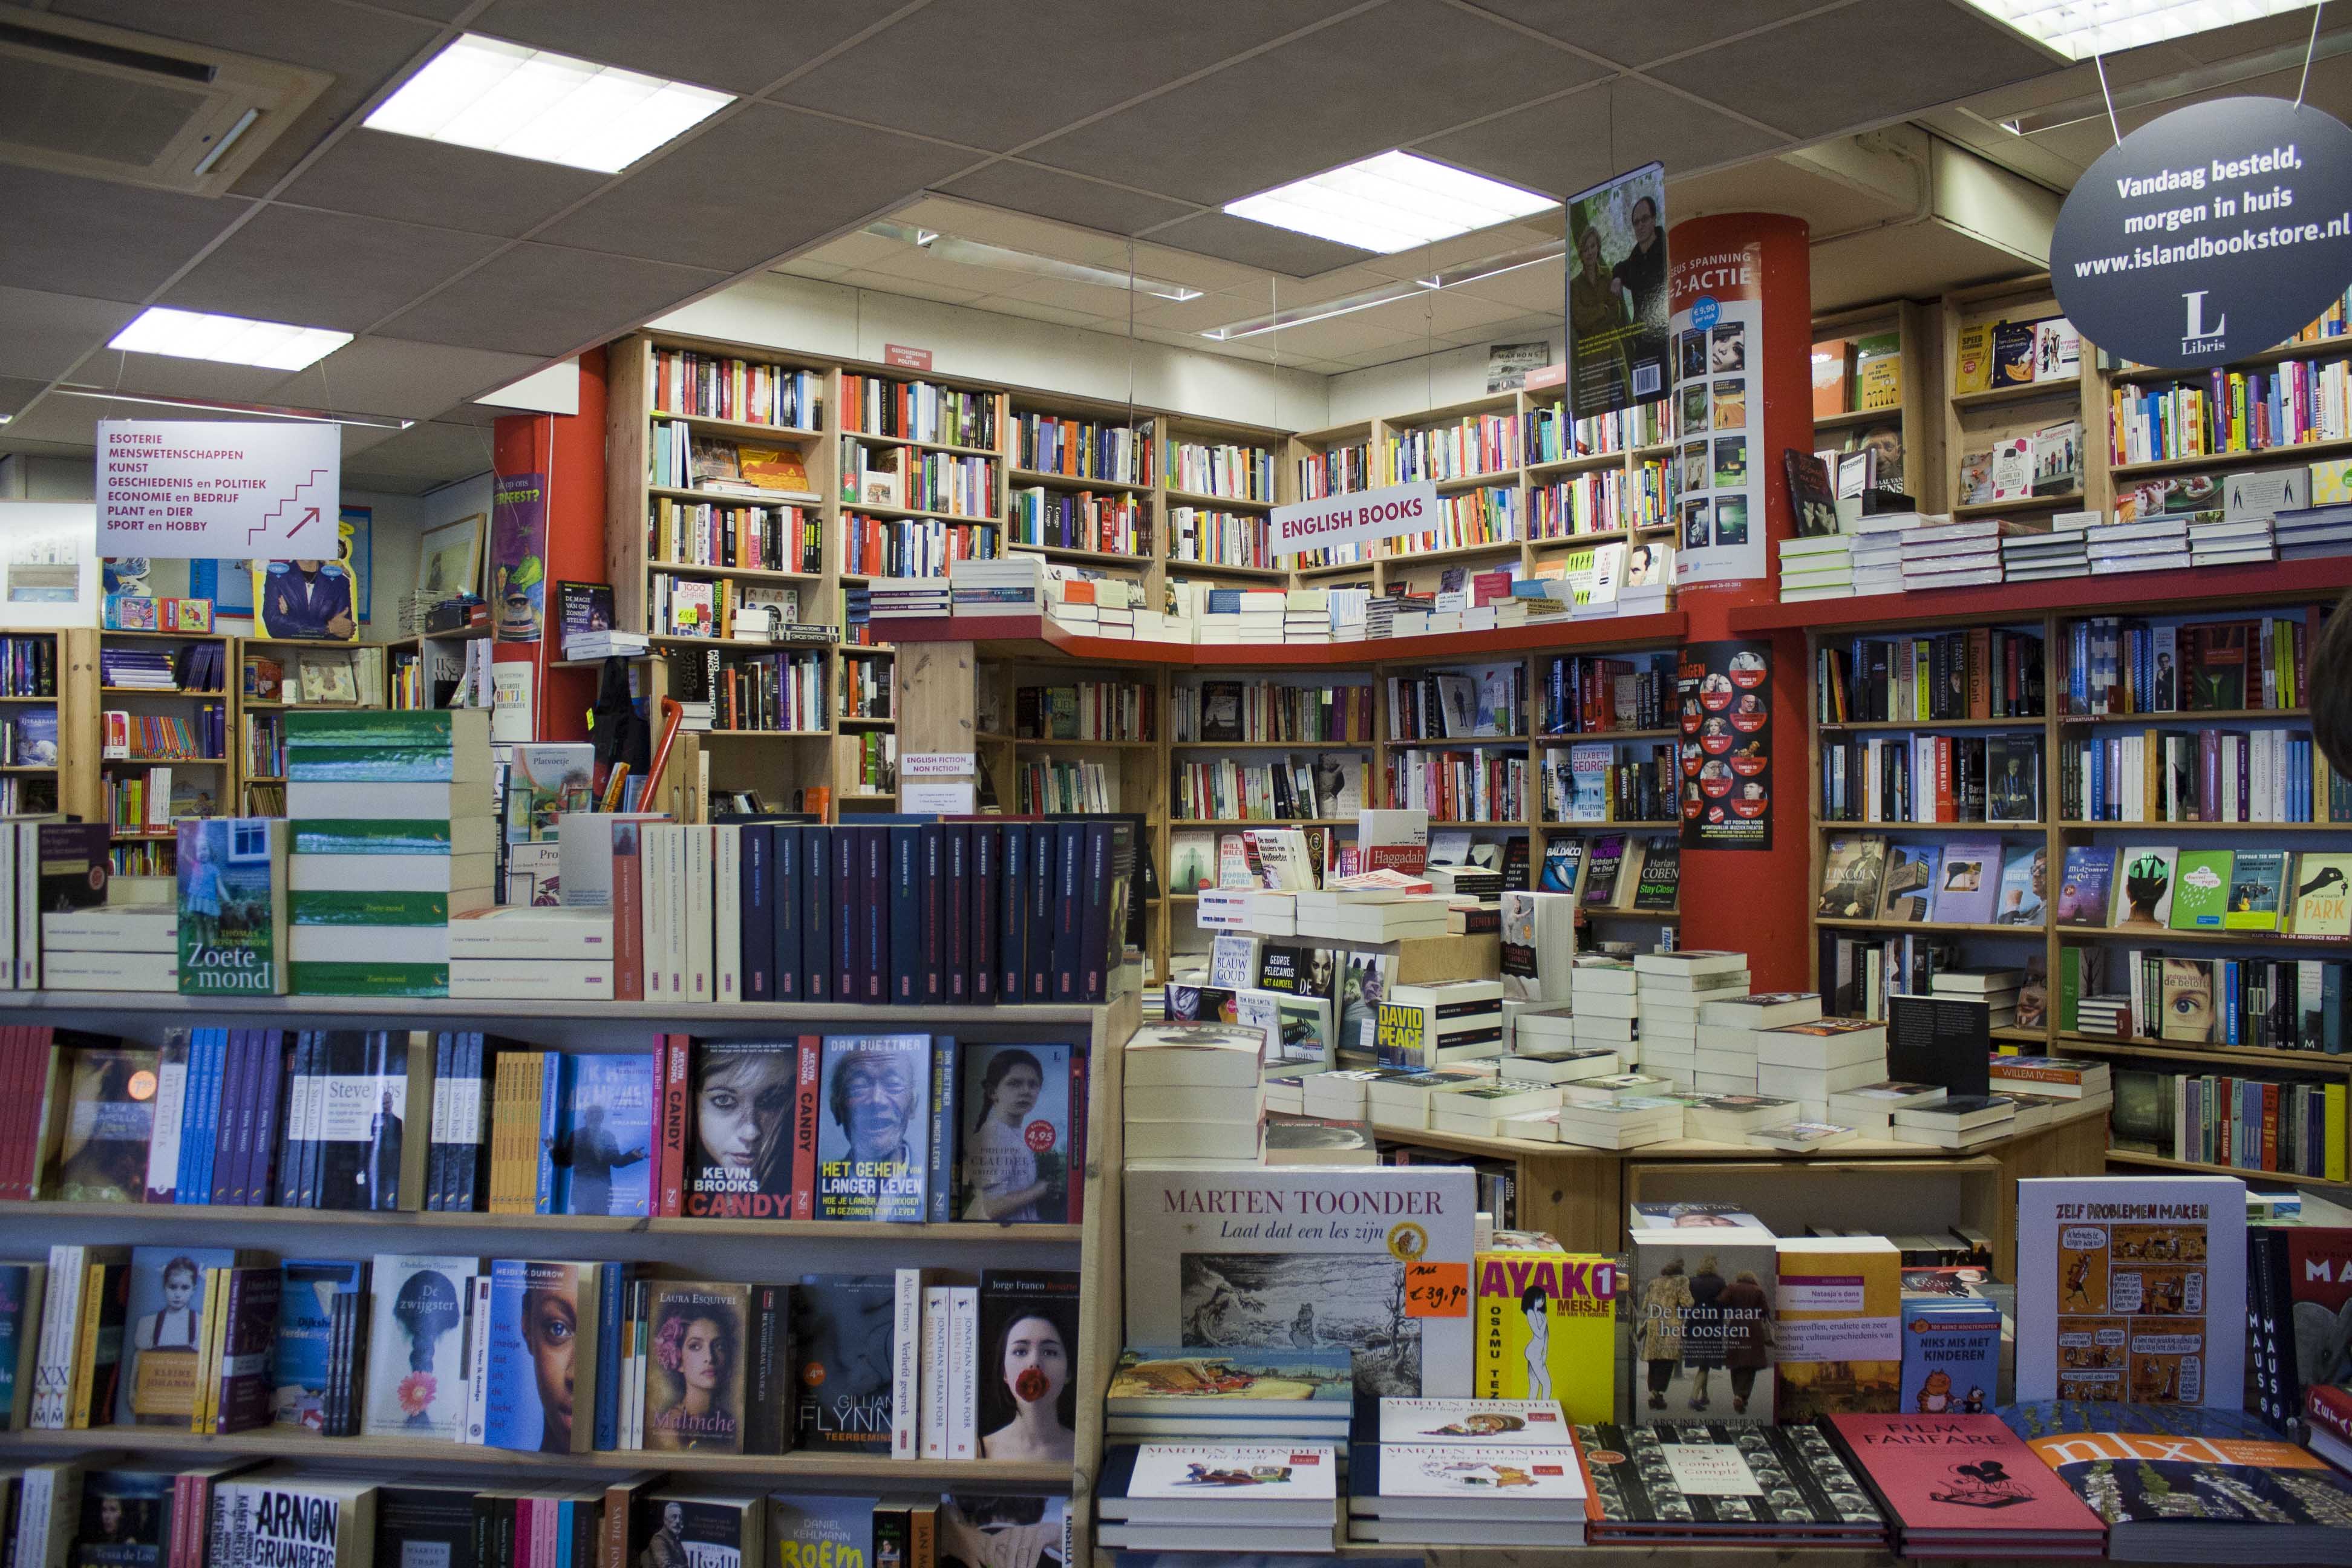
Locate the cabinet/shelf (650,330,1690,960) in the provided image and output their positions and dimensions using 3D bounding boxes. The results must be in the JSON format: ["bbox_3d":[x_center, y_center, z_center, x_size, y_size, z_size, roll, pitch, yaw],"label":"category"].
[{"bbox_3d":[0.691,-0.623,10.601,3.626,2.143,3.570,0,-1,-34],"label":"cabinet/shelf"}]
